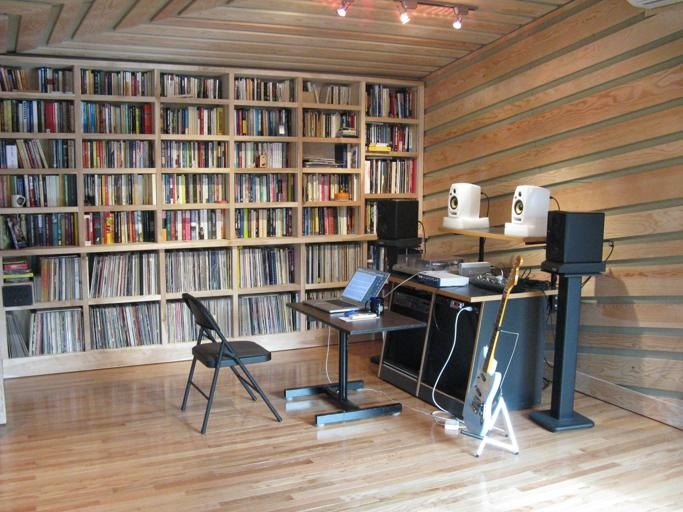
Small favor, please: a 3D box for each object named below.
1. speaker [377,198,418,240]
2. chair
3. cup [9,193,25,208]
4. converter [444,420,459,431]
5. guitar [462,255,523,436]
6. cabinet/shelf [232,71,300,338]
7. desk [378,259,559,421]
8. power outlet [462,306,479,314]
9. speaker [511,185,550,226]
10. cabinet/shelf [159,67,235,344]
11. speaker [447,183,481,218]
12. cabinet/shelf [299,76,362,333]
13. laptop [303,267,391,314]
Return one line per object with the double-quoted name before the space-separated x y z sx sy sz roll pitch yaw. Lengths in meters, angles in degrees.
"speaker" 0.581 -0.374 5.734 0.349 0.424 0.391 -4 15 -12
"chair" -1.006 0.761 4.753 0.762 1.036 1.323 -5 14 -16
"cup" -3.042 -0.522 5.300 0.131 0.121 0.141 0 14 0
"converter" 0.851 1.304 4.317 0.110 0.068 0.060 1 42 7
"guitar" 1.121 0.662 4.185 0.288 1.384 0.658 5 17 16
"cabinet/shelf" -0.793 -0.993 6.176 0.734 1.641 0.212 0 -2 27
"desk" 1.237 0.804 5.215 1.197 0.998 1.439 2 3 -20
"power outlet" 1.043 0.440 4.548 0.121 0.032 0.057 -3 10 -14
"speaker" 1.578 -0.429 4.709 0.281 0.320 0.191 4 17 17
"cabinet/shelf" -1.502 -0.876 5.980 0.215 1.568 0.620 -2 4 39
"speaker" 1.221 -0.533 5.423 0.394 0.274 0.347 5 10 30
"cabinet/shelf" -0.009 -0.746 6.510 0.346 2.484 1.091 -15 22 -38
"laptop" 0.013 0.296 4.698 0.575 0.216 0.488 -11 11 -21
